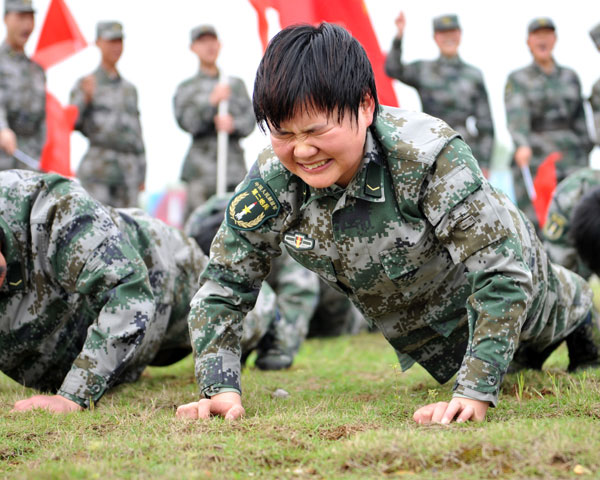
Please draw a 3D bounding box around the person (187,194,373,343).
[{"bbox_3d":[0.143,0.327,7.652,1.154,0.600,1.947,8,0,36],"label":"person"}]
